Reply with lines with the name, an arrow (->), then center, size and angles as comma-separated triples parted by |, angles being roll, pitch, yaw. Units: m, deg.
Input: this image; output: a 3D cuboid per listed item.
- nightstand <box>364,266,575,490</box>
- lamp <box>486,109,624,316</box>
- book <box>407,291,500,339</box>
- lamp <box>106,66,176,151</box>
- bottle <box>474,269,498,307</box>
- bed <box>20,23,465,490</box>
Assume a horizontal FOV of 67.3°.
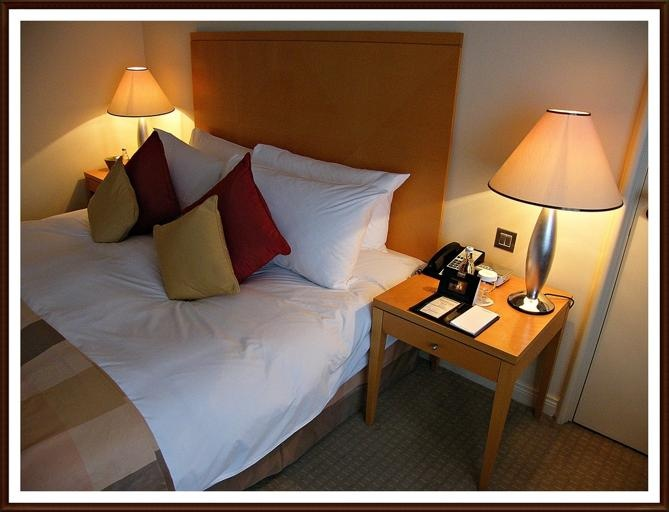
nightstand -> 0.603, 0.460, 2.608 | 0.873, 0.956, 0.948 | 23, 37, 32
lamp -> 0.943, -0.172, 2.213 | 0.513, 0.878, 0.274 | 1, 23, -1
book -> 0.547, 0.263, 2.290 | 0.347, 0.028, 0.225 | 19, 29, 32
lamp -> -1.486, -1.116, 3.870 | 0.405, 0.651, 0.436 | 14, 32, 10
bottle -> 0.719, 0.155, 2.420 | 0.094, 0.165, 0.105 | 19, 31, 33
bed -> -0.373, -0.013, 2.532 | 1.821, 1.227, 1.747 | 24, 35, 34
